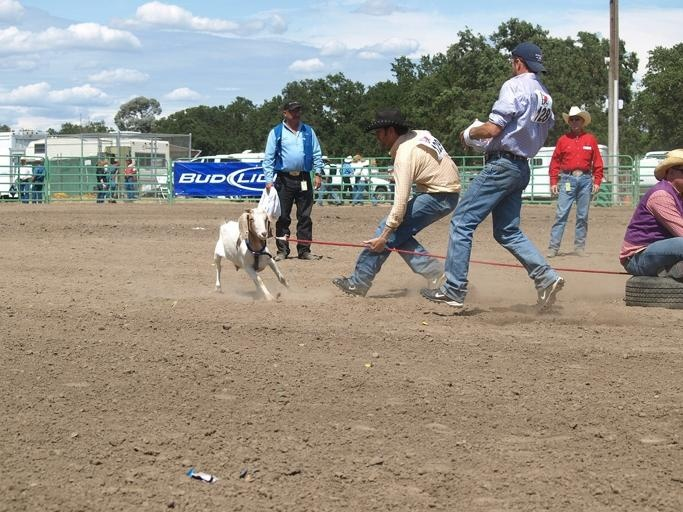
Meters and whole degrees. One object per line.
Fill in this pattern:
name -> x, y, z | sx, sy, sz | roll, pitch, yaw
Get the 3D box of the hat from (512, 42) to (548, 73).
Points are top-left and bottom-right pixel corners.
hat -> 1.741, -1.839, 7.614 | 0.366, 0.198, 0.260 | 41, 37, 25

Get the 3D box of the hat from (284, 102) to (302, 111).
hat -> -0.684, -2.081, 11.250 | 0.242, 0.157, 0.441 | 1, 4, -5

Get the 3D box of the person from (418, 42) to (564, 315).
person -> 1.486, -0.758, 7.595 | 1.184, 2.530, 0.639 | 2, 4, 4

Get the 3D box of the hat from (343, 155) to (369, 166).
hat -> 0.510, -3.149, 26.996 | 0.595, 0.149, 0.579 | 0, 0, 9

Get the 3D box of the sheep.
sheep -> -0.953, -0.050, 8.670 | 0.499, 0.933, 0.989 | -1, 5, -31

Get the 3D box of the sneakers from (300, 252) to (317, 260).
sneakers -> -0.461, -0.005, 11.373 | 0.207, 0.079, 0.112 | -2, -2, 27

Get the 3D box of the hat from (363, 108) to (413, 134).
hat -> 0.550, -1.365, 7.984 | 0.430, 0.155, 0.371 | -6, 8, -42
